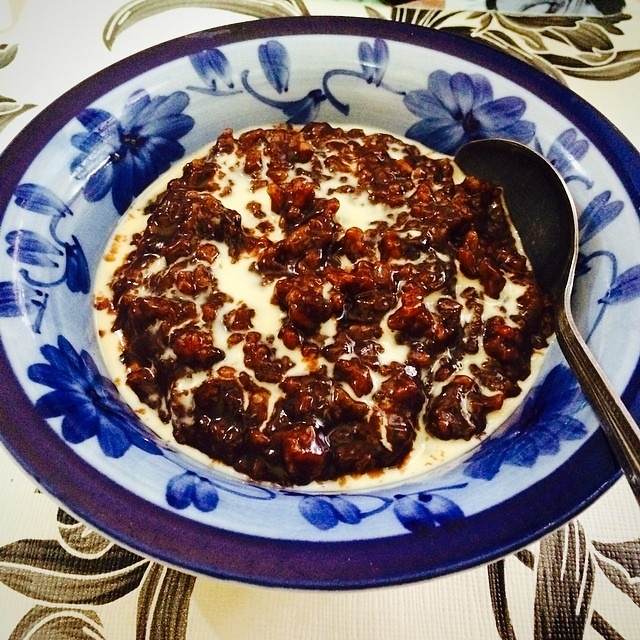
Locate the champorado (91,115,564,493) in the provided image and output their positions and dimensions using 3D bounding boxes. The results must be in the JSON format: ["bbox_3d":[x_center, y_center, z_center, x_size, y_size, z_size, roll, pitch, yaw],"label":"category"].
[{"bbox_3d":[-0.027,-0.018,1.405,0.732,0.130,0.782,39,62,20],"label":"champorado"}]
